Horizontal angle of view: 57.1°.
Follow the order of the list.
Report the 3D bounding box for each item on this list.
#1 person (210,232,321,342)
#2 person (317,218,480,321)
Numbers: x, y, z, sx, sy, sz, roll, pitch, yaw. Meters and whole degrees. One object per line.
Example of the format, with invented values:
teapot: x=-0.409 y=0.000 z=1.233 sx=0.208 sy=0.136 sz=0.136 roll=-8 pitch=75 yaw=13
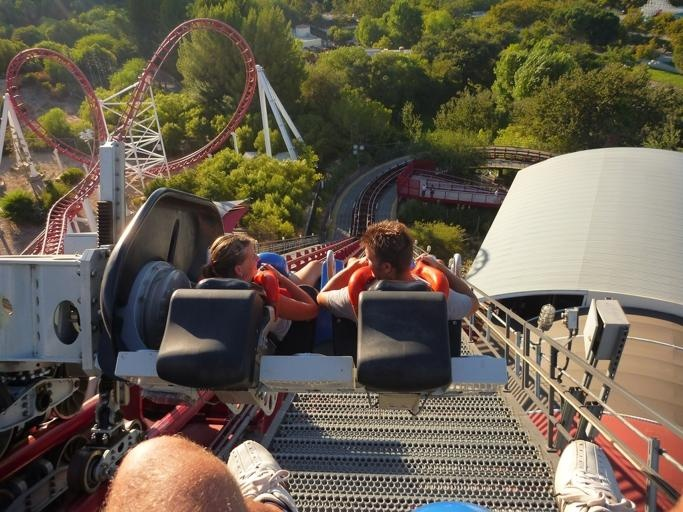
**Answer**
person: x=-0.809 y=0.448 z=7.273 sx=0.894 sy=1.372 sz=1.672 roll=7 pitch=5 yaw=35
person: x=0.601 y=0.191 z=7.017 sx=1.732 sy=1.151 sz=1.090 roll=4 pitch=5 yaw=-3
